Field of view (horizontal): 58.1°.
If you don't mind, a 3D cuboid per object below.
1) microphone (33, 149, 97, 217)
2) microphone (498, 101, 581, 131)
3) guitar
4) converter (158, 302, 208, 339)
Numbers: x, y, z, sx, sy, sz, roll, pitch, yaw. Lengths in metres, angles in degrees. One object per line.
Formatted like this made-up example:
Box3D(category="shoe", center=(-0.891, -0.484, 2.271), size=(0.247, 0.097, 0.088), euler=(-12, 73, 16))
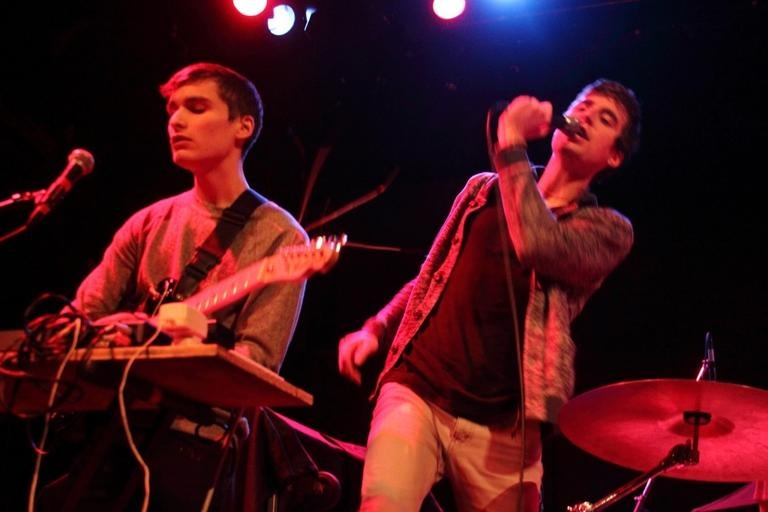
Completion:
Box3D(category="microphone", center=(-1.766, -0.390, 3.850), size=(0.157, 0.523, 0.134), euler=(46, -35, -18))
Box3D(category="microphone", center=(0.749, -0.681, 3.380), size=(0.339, 0.111, 0.104), euler=(21, -78, -29))
Box3D(category="guitar", center=(-0.660, 0.044, 3.559), size=(0.574, 1.369, 0.195), euler=(35, -67, 18))
Box3D(category="converter", center=(-0.710, 0.231, 2.441), size=(0.118, 0.113, 0.166), euler=(-5, -14, 17))
